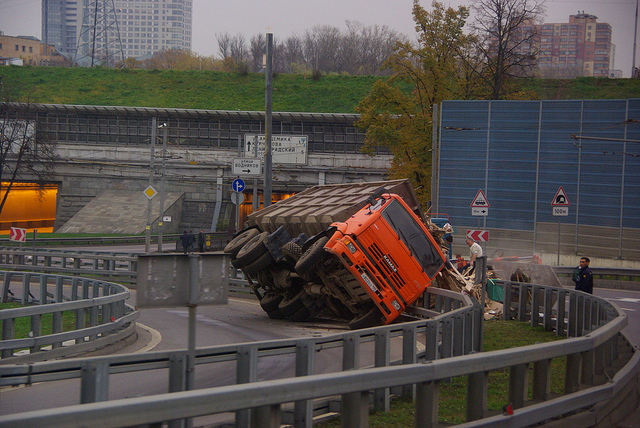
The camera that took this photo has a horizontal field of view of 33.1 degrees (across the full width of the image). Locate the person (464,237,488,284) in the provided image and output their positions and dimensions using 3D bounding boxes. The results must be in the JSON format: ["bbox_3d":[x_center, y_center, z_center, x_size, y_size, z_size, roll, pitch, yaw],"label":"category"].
[{"bbox_3d":[10.242,3.167,70.831,1.052,3.363,1.384,-7,0,10],"label":"person"}]
